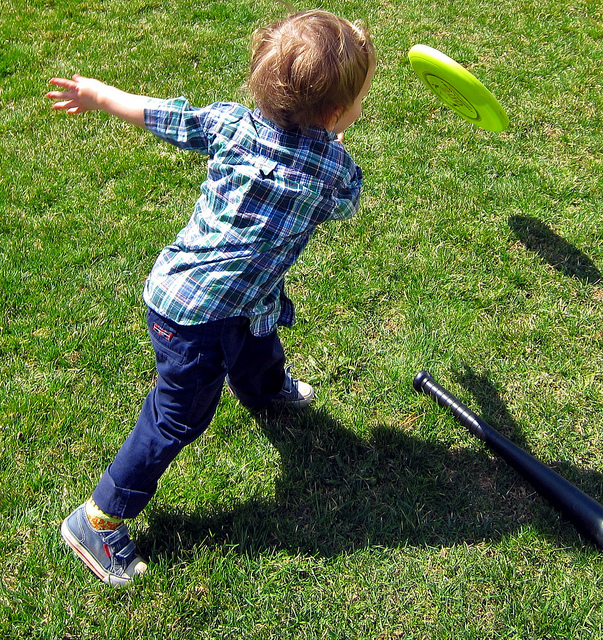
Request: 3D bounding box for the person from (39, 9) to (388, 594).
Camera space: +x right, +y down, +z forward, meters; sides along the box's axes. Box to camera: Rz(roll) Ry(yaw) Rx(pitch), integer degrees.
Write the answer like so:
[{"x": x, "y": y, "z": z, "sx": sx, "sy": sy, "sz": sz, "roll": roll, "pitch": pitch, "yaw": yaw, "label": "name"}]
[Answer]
[{"x": -0.422, "y": -0.197, "z": 3.420, "sx": 1.486, "sy": 2.377, "sz": 0.809, "roll": -18, "pitch": 38, "yaw": -40, "label": "person"}]
